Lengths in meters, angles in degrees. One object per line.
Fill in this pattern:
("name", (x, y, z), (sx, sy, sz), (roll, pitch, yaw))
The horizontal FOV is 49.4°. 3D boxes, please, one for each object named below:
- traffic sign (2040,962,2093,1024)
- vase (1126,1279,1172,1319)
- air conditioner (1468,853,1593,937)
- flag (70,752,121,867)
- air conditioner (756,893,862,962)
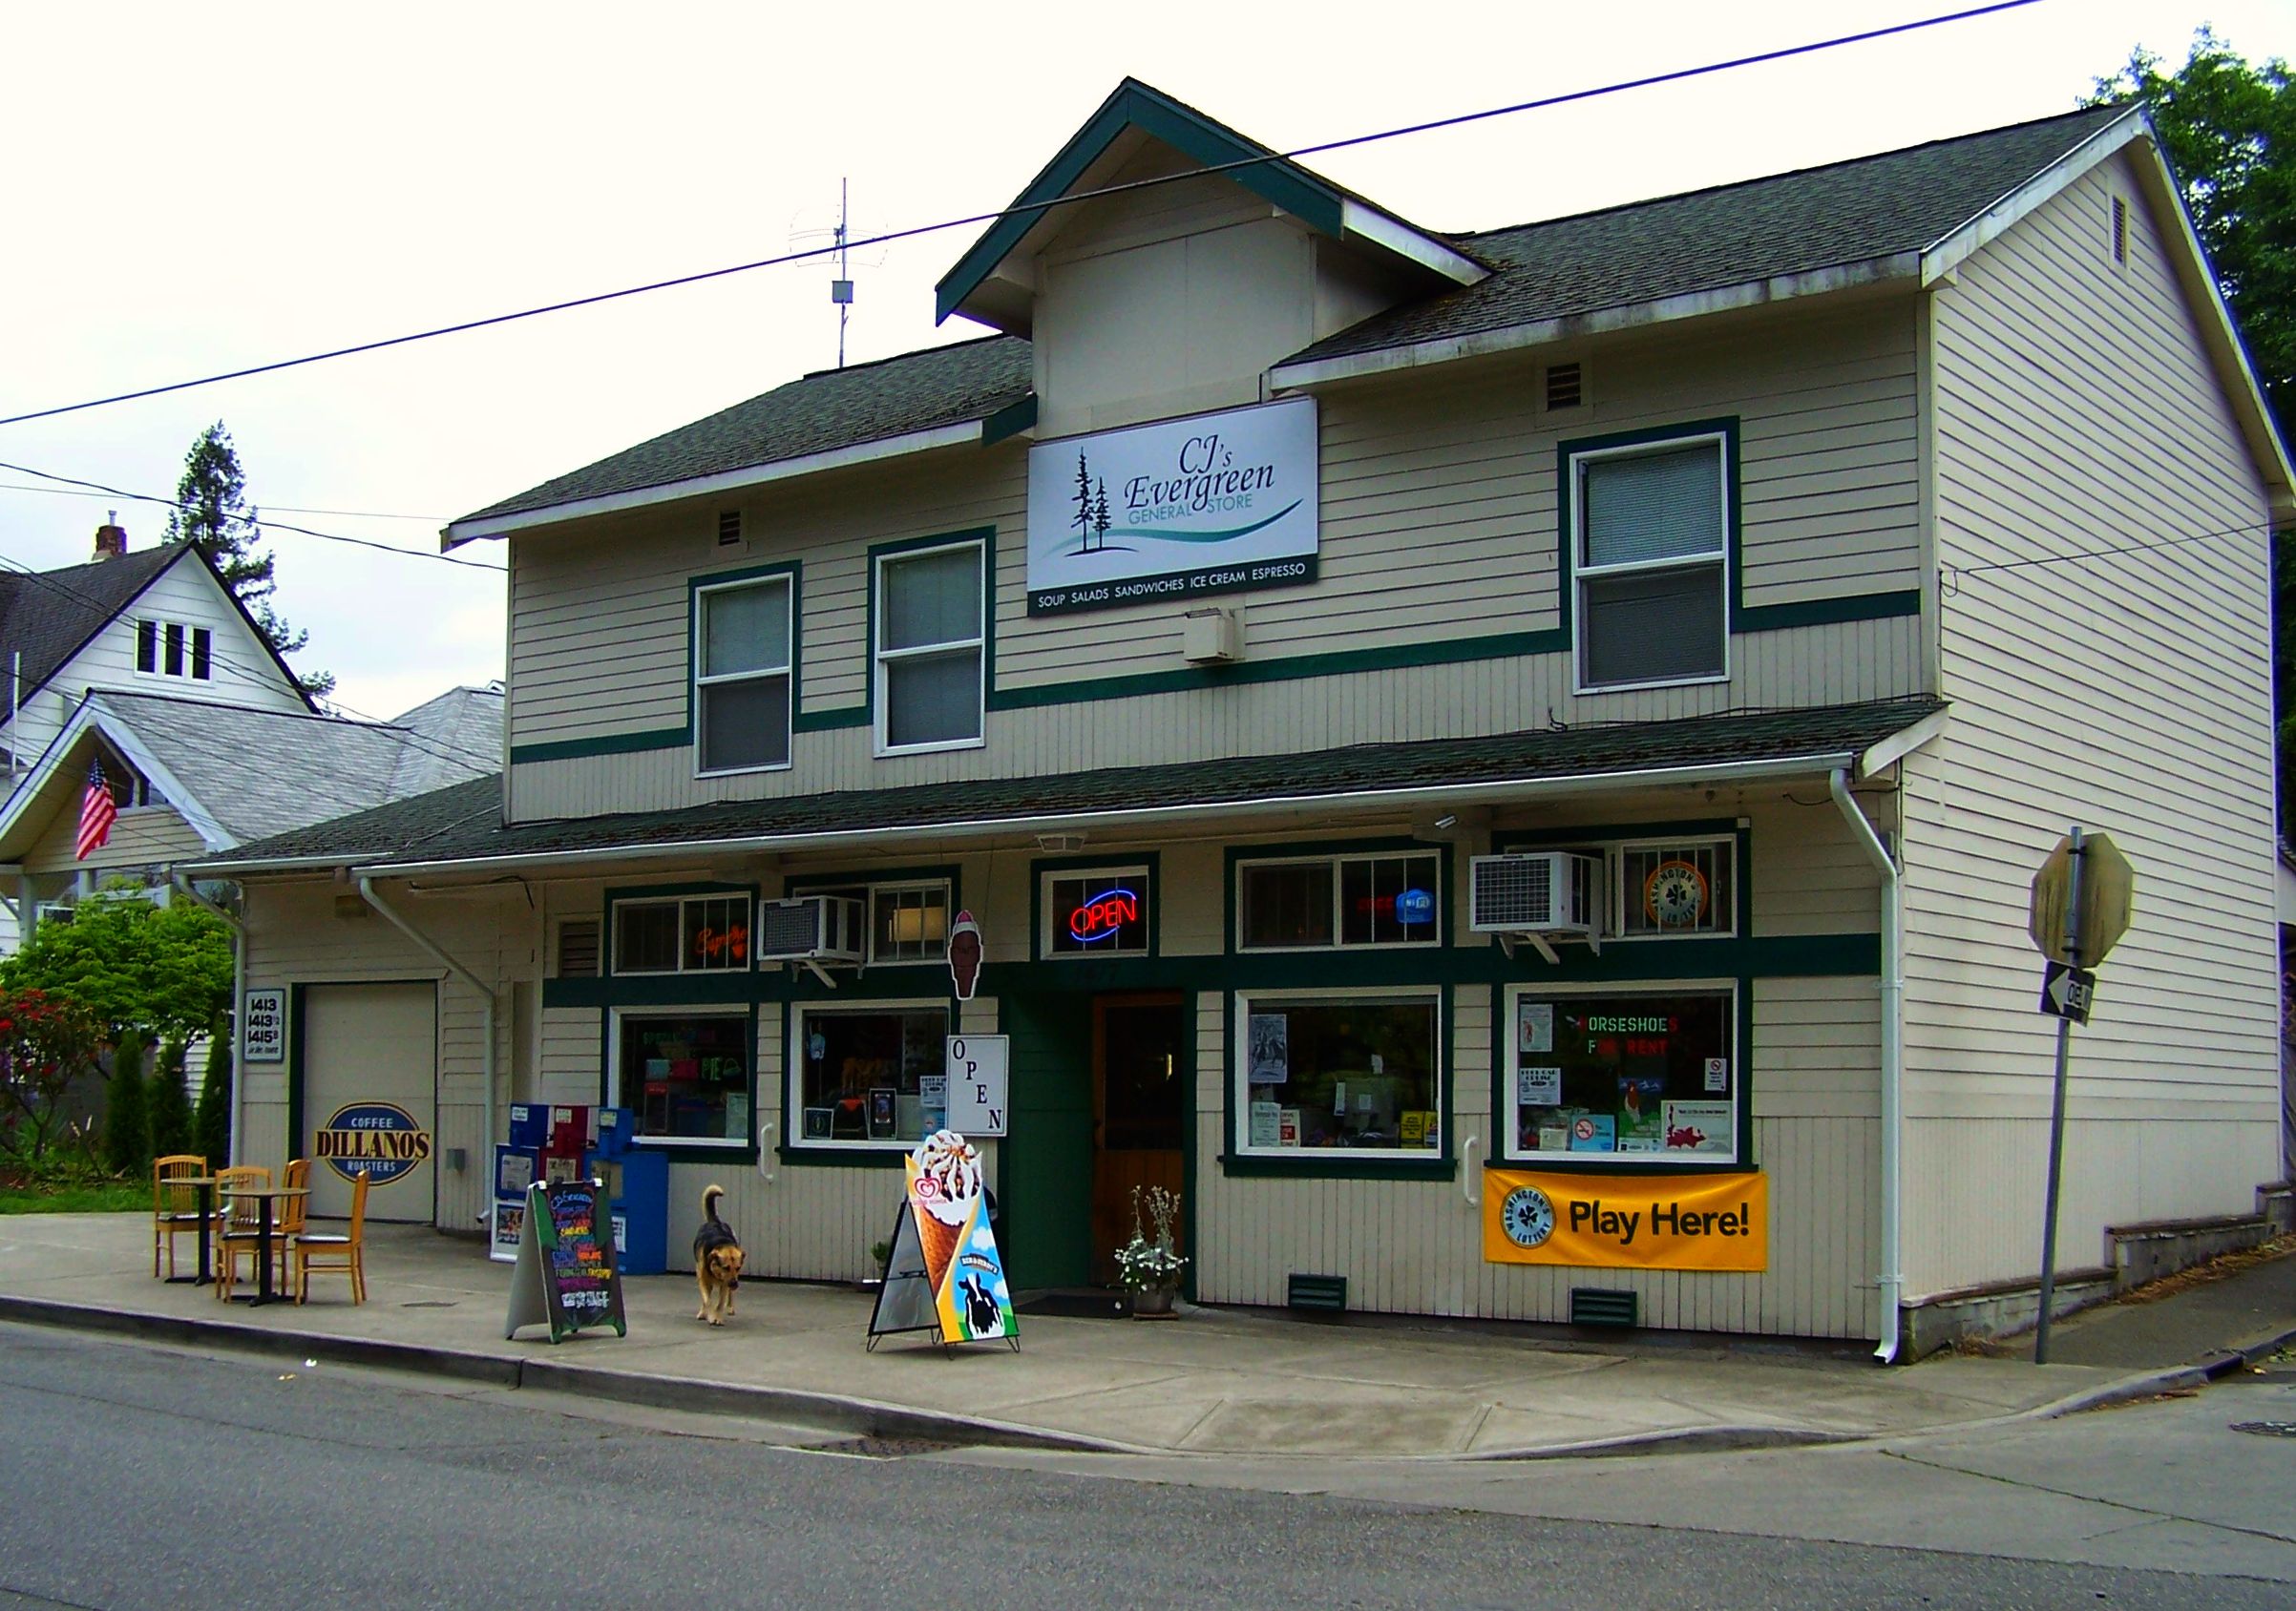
("traffic sign", (7.172, 1.435, 19.514), (0.488, 0.460, 0.070), (12, -1, 35))
("vase", (0.004, 4.279, 21.900), (0.373, 0.265, 0.222), (0, 1, 5))
("air conditioner", (3.014, 0.708, 20.242), (1.061, 0.633, 0.794), (-4, -5, 32))
("flag", (-15.120, 0.043, 35.799), (0.575, 1.412, 1.704), (-1, 1, -24))
("air conditioner", (-3.340, 1.142, 23.765), (1.014, 0.614, 0.712), (-3, -4, 36))
